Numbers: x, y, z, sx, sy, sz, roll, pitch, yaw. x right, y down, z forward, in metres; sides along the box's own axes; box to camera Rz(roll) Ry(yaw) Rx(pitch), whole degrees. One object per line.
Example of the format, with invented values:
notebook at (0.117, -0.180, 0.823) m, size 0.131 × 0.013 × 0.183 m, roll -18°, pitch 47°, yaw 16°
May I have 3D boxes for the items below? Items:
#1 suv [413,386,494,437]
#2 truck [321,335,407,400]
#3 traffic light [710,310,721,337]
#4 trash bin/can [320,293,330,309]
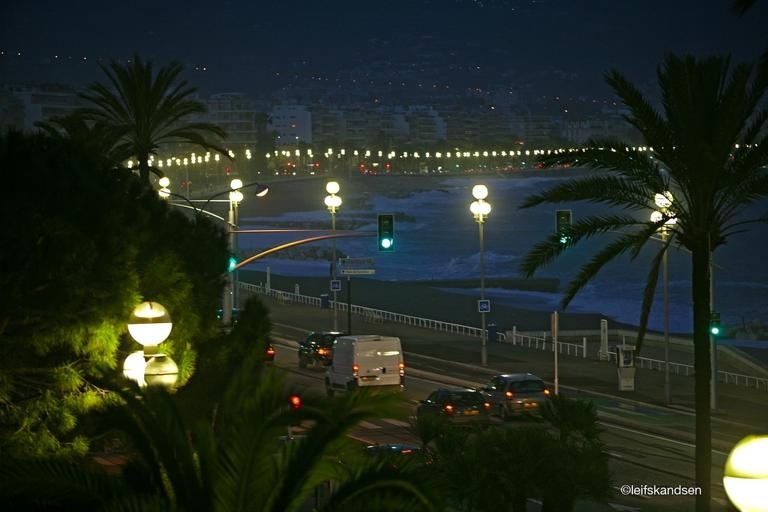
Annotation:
suv at (2.152, 5.473, 34.843) m, size 2.227 × 1.566 × 4.163 m, roll 0°, pitch 0°, yaw -8°
truck at (-0.774, 4.912, 41.422) m, size 2.901 × 3.216 × 6.624 m, roll 0°, pitch 0°, yaw -13°
traffic light at (12.442, 2.480, 37.244) m, size 0.390 × 0.833 × 1.182 m, roll -2°, pitch -13°, yaw 18°
trash bin/can at (-4.708, 3.612, 79.851) m, size 0.855 × 1.627 × 0.869 m, roll 0°, pitch 10°, yaw -9°
